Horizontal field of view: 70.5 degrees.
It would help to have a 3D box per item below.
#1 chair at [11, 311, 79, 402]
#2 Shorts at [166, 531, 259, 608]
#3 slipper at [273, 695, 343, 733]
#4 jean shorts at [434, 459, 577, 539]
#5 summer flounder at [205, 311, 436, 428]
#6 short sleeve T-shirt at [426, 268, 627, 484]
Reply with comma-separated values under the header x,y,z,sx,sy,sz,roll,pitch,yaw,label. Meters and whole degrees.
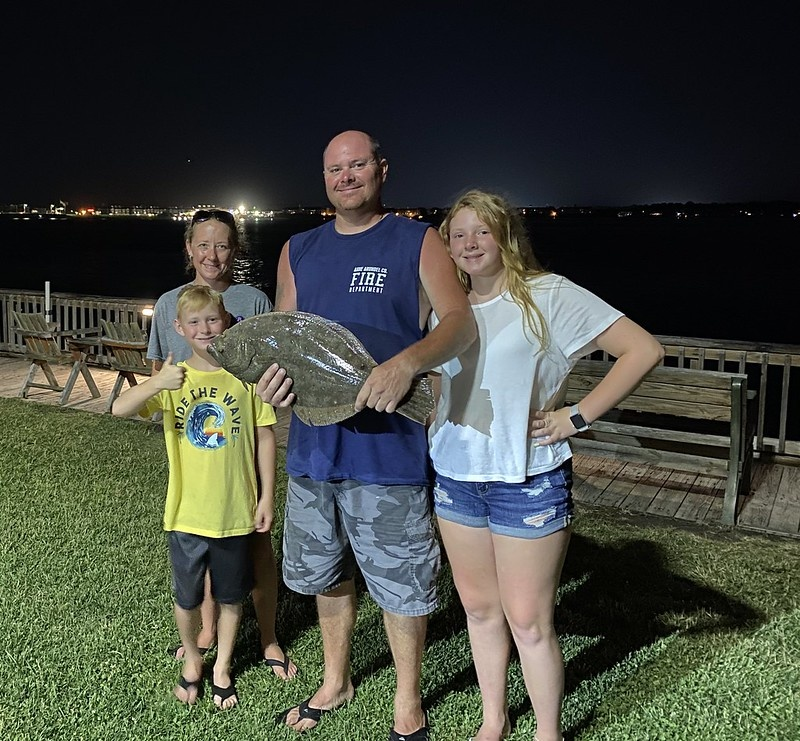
x,y,z,sx,sy,sz,roll,pitch,yaw,label
-5.979,-0.311,9.442,0.731,1.312,2.819,-6,11,-34,chair
-0.919,0.972,2.782,0.377,0.386,0.230,3,5,-9,Shorts
-0.450,1.632,2.649,0.251,0.060,0.106,0,9,-39,slipper
0.373,0.447,2.295,0.495,0.357,0.301,1,23,22,jean shorts
-0.402,-0.003,2.114,0.656,0.416,0.108,3,9,18,summer flounder
0.473,0.027,2.403,0.425,0.854,1.014,-7,-1,-35,short sleeve T-shirt
